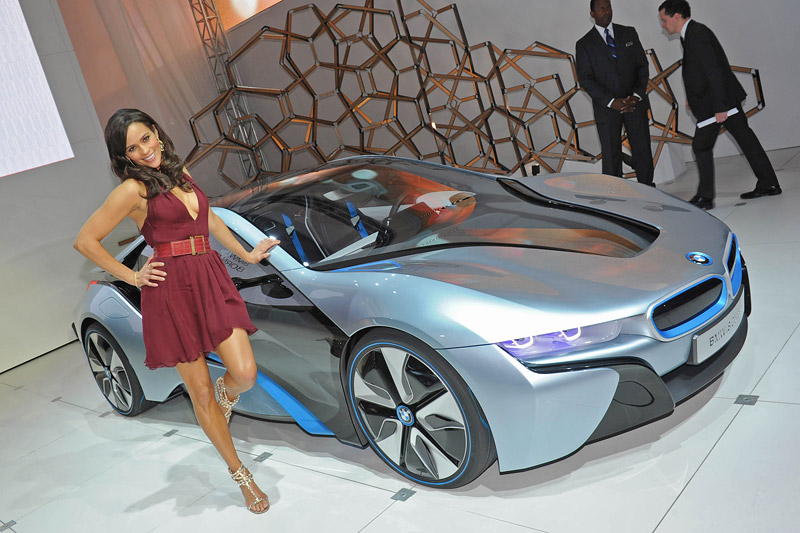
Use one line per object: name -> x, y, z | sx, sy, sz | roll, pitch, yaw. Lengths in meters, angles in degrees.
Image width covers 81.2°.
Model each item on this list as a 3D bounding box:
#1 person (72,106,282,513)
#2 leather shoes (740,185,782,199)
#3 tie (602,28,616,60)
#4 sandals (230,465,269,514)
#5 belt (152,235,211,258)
person -> -1.041, 0.272, 2.388 | 0.681, 2.080, 0.566 | 11, 31, 41
leather shoes -> 3.644, -0.747, 4.711 | 0.372, 0.156, 0.128 | 3, 15, 21
tie -> 2.315, -2.475, 5.135 | 0.109, 0.308, 0.148 | -4, 24, 14
sandals -> -0.824, 1.245, 2.561 | 0.096, 0.128, 0.278 | -32, 50, -19
belt -> -1.084, -0.090, 2.320 | 0.264, 0.098, 0.082 | -15, 23, -13
